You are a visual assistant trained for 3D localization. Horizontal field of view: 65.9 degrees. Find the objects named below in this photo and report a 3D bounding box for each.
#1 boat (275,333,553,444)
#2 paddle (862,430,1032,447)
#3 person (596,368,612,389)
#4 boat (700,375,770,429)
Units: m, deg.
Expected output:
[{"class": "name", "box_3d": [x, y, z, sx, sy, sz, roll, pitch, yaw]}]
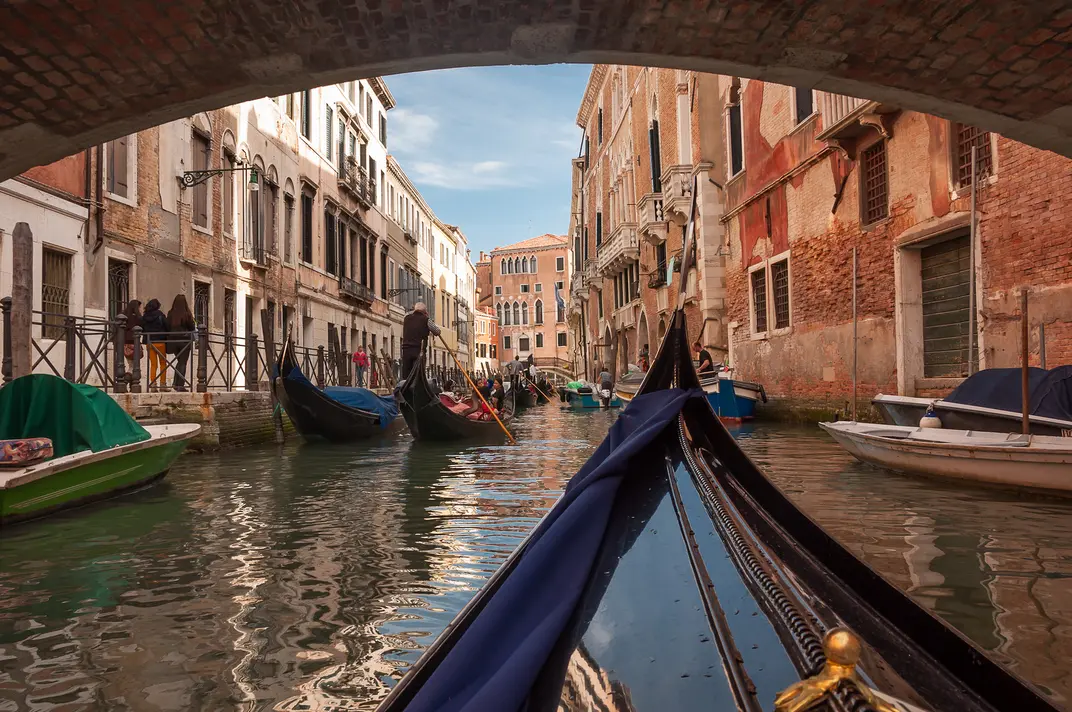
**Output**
[{"class": "boat", "box_3d": [-3.575, 0.586, 17.656, 5.054, 1.784, 2.485, 1, -5, 26]}, {"class": "paddle", "box_3d": [4.829, 0.933, 9.591, 0.378, 0.235, 1.632, 27, -22, -38]}, {"class": "person", "box_3d": [2.746, 0.868, 33.041, 0.683, 0.355, 1.250, 3, 6, 7]}, {"class": "boat", "box_3d": [4.334, 0.927, 17.931, 1.475, 1.148, 3.515, -1, 0, 16]}]
